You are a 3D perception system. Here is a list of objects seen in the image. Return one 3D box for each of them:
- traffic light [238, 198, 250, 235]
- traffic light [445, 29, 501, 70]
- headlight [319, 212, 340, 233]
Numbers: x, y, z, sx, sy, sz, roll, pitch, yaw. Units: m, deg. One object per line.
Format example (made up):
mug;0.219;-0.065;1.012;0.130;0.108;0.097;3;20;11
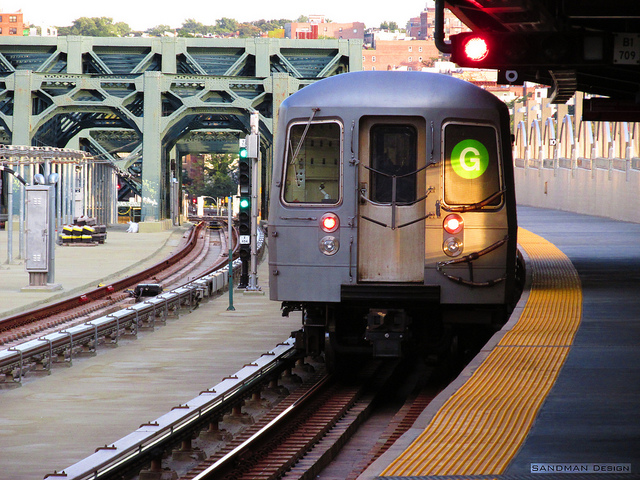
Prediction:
traffic light;-1.919;-0.616;30.153;0.293;0.841;0.597;-4;1;-4
traffic light;2.702;-3.275;20.595;1.055;0.709;0.468;0;6;-9
headlight;0.156;-0.307;19.782;0.336;0.321;0.076;-1;3;8
